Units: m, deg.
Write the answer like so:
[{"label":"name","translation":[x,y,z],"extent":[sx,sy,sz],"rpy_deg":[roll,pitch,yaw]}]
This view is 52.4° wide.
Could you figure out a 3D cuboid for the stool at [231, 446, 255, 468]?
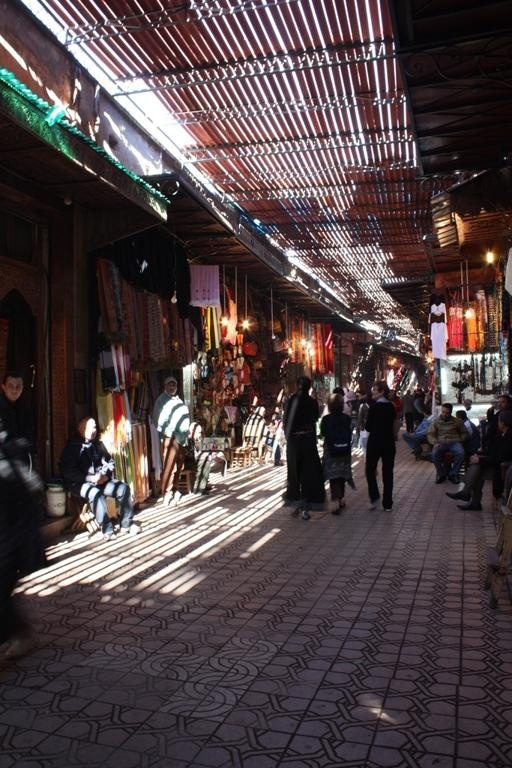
[{"label":"stool","translation":[-0.292,1.657,11.808],"extent":[0.444,0.452,0.425],"rpy_deg":[0,3,-5]}]

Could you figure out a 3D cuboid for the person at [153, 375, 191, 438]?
[{"label":"person","translation":[-1.211,0.396,7.534],"extent":[0.540,0.947,0.313],"rpy_deg":[3,-8,-29]}]

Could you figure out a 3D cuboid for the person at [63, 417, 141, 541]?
[{"label":"person","translation":[-1.683,1.013,5.600],"extent":[0.792,1.254,0.357],"rpy_deg":[6,-10,-44]}]

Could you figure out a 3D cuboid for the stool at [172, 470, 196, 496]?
[{"label":"stool","translation":[-1.114,1.579,8.338],"extent":[0.255,0.395,0.199],"rpy_deg":[0,-7,-5]}]

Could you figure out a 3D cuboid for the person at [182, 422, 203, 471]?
[{"label":"person","translation":[-1.026,1.019,8.388],"extent":[0.246,0.754,0.691],"rpy_deg":[0,-7,-8]}]
